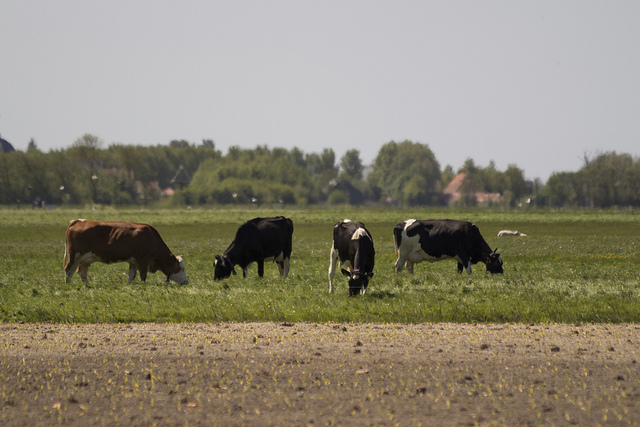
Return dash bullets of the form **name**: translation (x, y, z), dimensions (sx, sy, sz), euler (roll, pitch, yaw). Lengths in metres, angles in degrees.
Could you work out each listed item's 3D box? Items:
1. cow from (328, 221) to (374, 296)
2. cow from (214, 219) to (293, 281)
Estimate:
- **cow**: translation (2.063, 2.809, 72.242), dimensions (2.636, 4.482, 3.490), euler (1, -1, 0)
- **cow**: translation (-4.359, 2.553, 77.464), dimensions (2.485, 4.420, 7.362), euler (3, 9, 40)
